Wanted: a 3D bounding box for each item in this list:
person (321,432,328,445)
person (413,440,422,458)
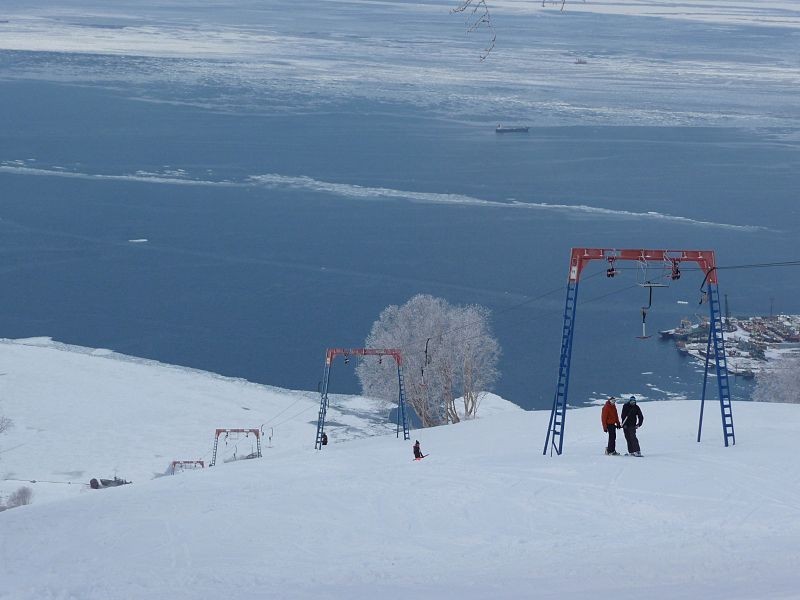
[{"bbox_3d":[-7.966,14.705,160.933,0.694,1.158,2.066,2,-1,-3],"label":"person"},{"bbox_3d":[1.754,14.989,152.248,1.116,1.441,2.940,2,-1,1],"label":"person"}]
